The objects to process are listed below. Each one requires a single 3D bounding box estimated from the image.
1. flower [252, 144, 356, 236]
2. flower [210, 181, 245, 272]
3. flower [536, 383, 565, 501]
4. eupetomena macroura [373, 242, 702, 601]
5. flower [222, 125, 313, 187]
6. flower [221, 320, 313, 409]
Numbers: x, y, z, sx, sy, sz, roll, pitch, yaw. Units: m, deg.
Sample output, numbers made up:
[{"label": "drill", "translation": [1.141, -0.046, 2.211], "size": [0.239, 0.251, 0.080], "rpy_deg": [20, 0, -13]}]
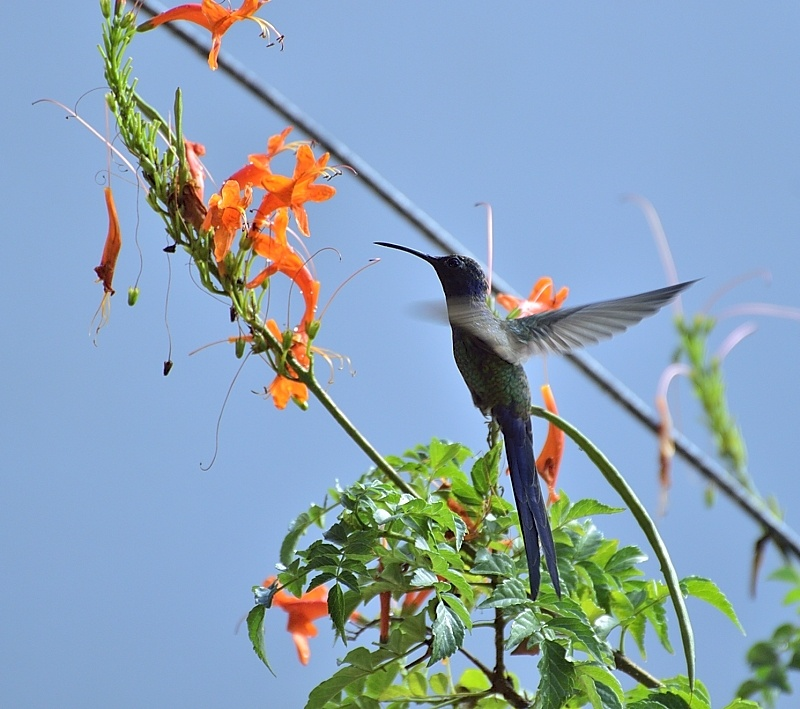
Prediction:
[{"label": "flower", "translation": [-0.162, -0.244, 2.384], "size": [0.167, 0.084, 0.149], "rpy_deg": [25, -13, 1]}, {"label": "flower", "translation": [-0.241, -0.179, 2.303], "size": [0.039, 0.118, 0.036], "rpy_deg": [4, -21, 0]}, {"label": "flower", "translation": [0.236, 0.145, 2.612], "size": [0.037, 0.204, 0.031], "rpy_deg": [0, -11, -45]}, {"label": "eupetomena macroura", "translation": [0.194, 0.022, 2.773], "size": [0.512, 0.476, 0.482], "rpy_deg": [-16, -17, -3]}, {"label": "flower", "translation": [-0.191, -0.291, 2.452], "size": [0.050, 0.130, 0.094], "rpy_deg": [52, -40, 3]}, {"label": "flower", "translation": [-0.187, 0.015, 2.377], "size": [0.057, 0.144, 0.115], "rpy_deg": [4, -2, -21]}]
